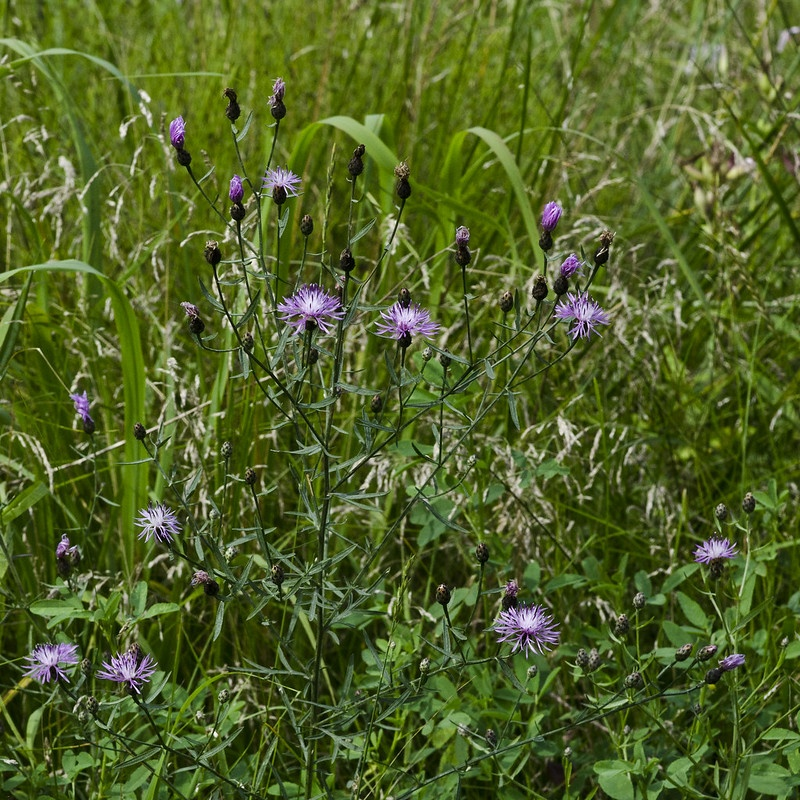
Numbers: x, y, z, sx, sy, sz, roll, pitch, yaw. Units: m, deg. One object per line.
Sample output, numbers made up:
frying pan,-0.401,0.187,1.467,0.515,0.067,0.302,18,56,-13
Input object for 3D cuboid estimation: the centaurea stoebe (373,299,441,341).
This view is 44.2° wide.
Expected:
centaurea stoebe,0.020,-0.116,1.626,0.069,0.058,0.080,-10,27,-27

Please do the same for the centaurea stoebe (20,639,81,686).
centaurea stoebe,-0.600,0.469,1.688,0.068,0.079,0.094,-2,28,6

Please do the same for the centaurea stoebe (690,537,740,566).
centaurea stoebe,0.567,0.264,1.768,0.068,0.073,0.048,-32,96,-18
